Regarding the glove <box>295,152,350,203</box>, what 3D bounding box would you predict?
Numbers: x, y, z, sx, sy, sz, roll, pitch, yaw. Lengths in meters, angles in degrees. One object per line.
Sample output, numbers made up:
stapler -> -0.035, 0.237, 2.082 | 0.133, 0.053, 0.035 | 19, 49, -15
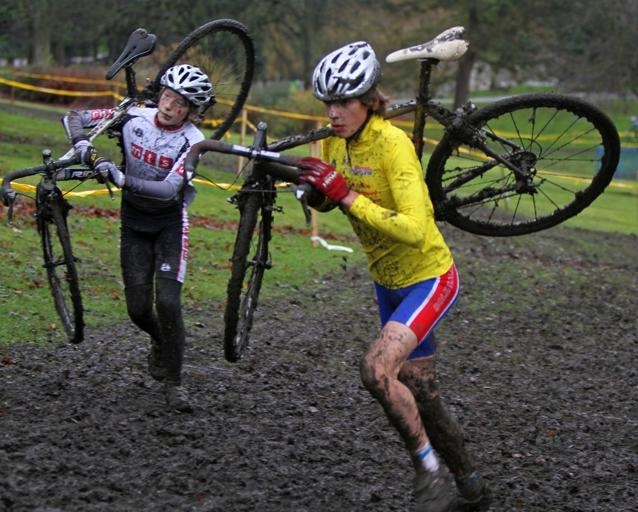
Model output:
glove -> 0.003, -0.490, 4.852 | 0.426, 0.202, 0.125 | 27, -19, 5

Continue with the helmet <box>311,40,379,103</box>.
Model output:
helmet -> 0.211, -1.181, 4.946 | 0.432, 0.151, 0.496 | 19, 46, 30

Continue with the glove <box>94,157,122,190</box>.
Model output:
glove -> -1.494, -0.578, 5.555 | 0.222, 0.229, 0.205 | 6, 23, -15

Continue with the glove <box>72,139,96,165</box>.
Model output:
glove -> -1.700, -0.772, 5.791 | 0.185, 0.177, 0.096 | 17, 38, 35
